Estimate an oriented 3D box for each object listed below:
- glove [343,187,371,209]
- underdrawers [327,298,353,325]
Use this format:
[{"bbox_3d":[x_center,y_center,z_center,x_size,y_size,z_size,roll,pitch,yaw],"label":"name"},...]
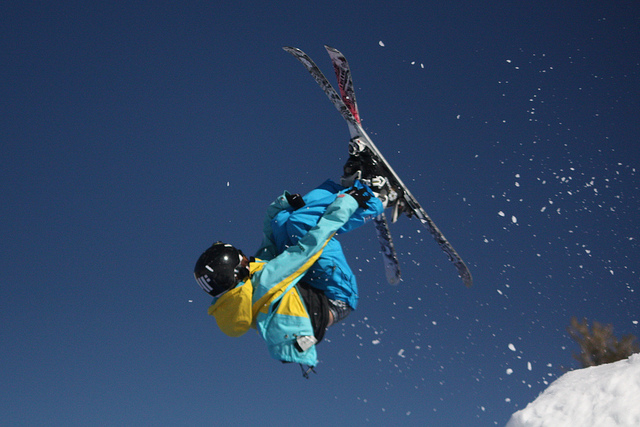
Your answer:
[{"bbox_3d":[0.599,-0.272,10.988,0.381,0.352,0.096,11,-33,-18],"label":"glove"},{"bbox_3d":[0.312,1.556,11.214,0.237,0.399,0.598,-20,-37,28],"label":"underdrawers"}]
